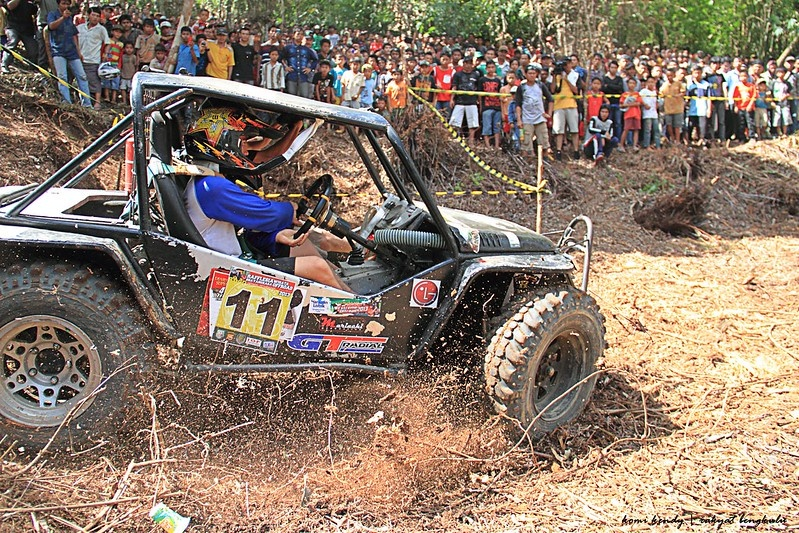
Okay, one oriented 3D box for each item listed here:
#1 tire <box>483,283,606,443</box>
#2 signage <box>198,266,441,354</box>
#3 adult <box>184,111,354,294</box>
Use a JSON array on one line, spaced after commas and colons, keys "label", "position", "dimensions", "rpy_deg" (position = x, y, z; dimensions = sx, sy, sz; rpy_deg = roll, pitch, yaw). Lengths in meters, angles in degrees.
[{"label": "tire", "position": [1.341, 0.929, 7.364], "dimensions": [1.594, 1.578, 0.474], "rpy_deg": [-7, 22, -44]}, {"label": "signage", "position": [-0.865, 0.420, 6.722], "dimensions": [1.257, 0.503, 0.762], "rpy_deg": [19, 0, -18]}, {"label": "adult", "position": [-1.093, -0.651, 6.961], "dimensions": [1.632, 1.707, 1.031], "rpy_deg": [1, 23, -14]}]
